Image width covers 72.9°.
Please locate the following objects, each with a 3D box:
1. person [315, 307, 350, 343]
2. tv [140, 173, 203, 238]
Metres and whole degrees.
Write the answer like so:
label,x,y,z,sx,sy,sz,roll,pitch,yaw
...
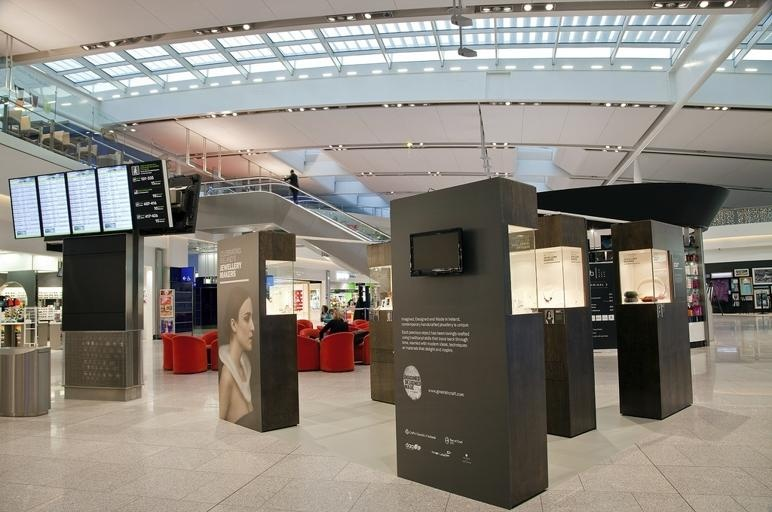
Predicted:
label,x,y,z,sx,sy,sz,roll,pitch,yaw
person,-1.399,1.835,14.012,0.625,0.758,0.837,-2,3,-14
tv,-4.486,-1.093,11.170,1.016,1.245,0.507,-1,3,-8
